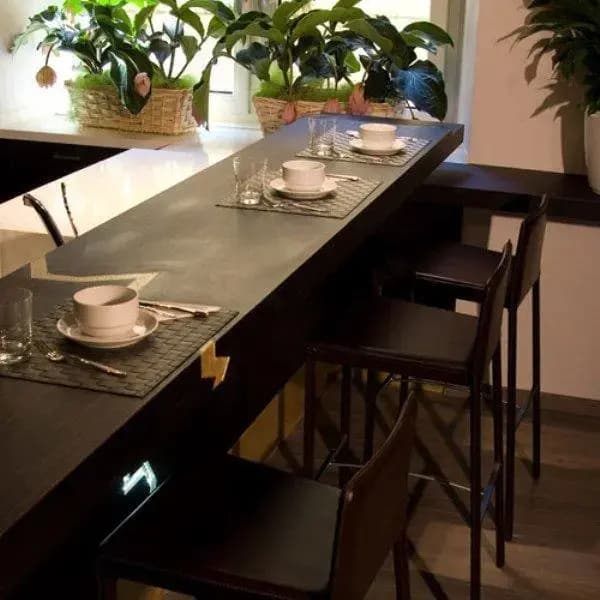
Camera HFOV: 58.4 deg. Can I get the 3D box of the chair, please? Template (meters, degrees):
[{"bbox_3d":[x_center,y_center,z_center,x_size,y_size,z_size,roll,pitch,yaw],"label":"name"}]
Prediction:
[{"bbox_3d":[0.094,0.225,1.309,0.349,0.586,1.084,10,24,20],"label":"chair"}]

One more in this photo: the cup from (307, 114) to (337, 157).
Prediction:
[{"bbox_3d":[0.088,-0.580,1.863,0.114,0.150,0.120,1,18,0],"label":"cup"}]

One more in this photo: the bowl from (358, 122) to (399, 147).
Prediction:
[{"bbox_3d":[0.277,-0.582,1.949,0.100,0.081,0.120,-1,8,0],"label":"bowl"}]

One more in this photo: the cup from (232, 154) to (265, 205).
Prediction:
[{"bbox_3d":[-0.139,-0.326,1.461,0.103,0.140,0.117,0,10,-6],"label":"cup"}]

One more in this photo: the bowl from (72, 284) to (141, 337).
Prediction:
[{"bbox_3d":[-0.288,0.017,0.798,0.083,0.060,0.084,6,20,-2],"label":"bowl"}]
